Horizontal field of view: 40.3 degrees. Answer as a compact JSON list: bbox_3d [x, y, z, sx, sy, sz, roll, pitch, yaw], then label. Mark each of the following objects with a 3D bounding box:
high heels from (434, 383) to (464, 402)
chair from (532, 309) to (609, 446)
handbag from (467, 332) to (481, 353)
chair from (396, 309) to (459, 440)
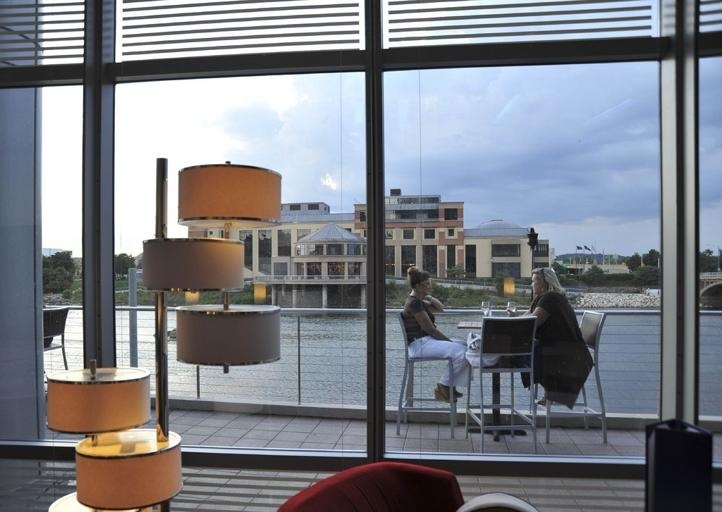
[{"bbox_3d":[0.599,0.965,6.929,0.237,0.118,0.087,-2,-3,1],"label":"high heels"},{"bbox_3d":[1.463,0.850,6.992,0.554,0.953,0.552,-5,6,-43],"label":"chair"},{"bbox_3d":[0.792,0.603,6.908,0.106,0.119,0.112,3,-6,-44],"label":"handbag"},{"bbox_3d":[0.470,0.773,7.048,0.455,0.831,0.458,-4,16,-7],"label":"chair"}]
